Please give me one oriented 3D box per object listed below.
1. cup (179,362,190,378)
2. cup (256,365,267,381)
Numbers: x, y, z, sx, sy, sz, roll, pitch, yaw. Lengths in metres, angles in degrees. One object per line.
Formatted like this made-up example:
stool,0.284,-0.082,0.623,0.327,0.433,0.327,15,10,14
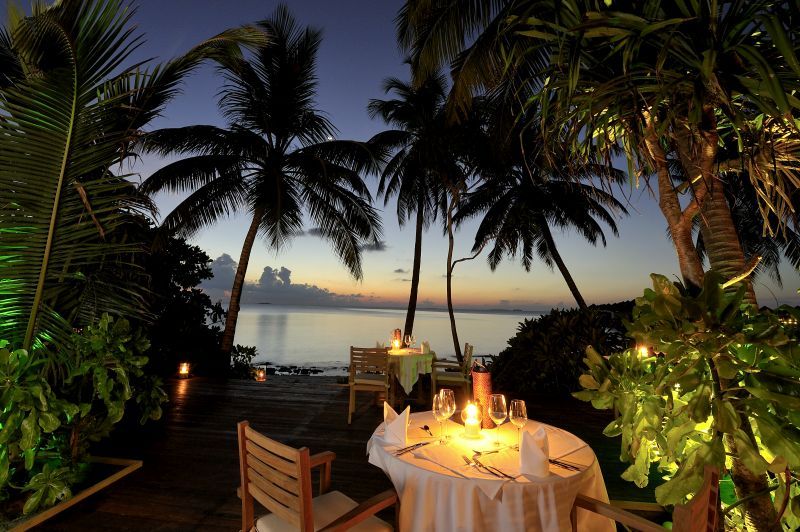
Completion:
cup,-4.245,2.043,9.344,0.241,0.276,0.247,5,5,0
cup,-2.771,2.142,9.434,0.234,0.275,0.237,1,5,0
